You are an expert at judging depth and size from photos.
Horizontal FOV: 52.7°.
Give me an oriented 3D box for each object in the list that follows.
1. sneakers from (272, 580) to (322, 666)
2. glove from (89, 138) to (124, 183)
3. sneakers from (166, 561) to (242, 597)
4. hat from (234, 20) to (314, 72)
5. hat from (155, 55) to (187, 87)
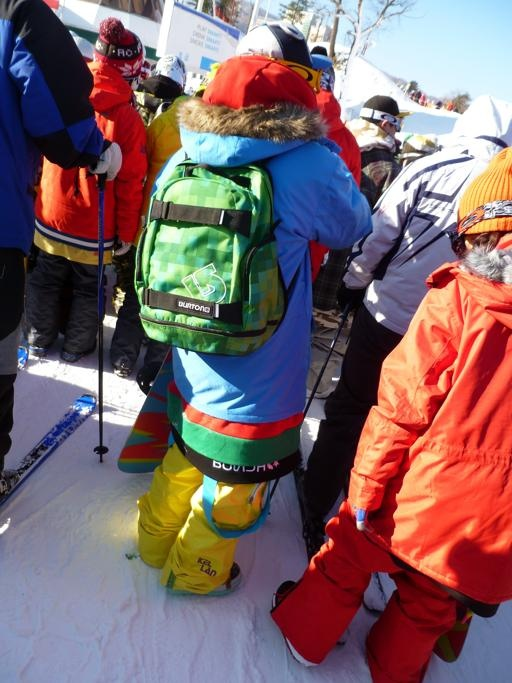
[{"bbox_3d":[0.110,1.002,1.920,0.116,0.114,0.334,-3,36,-21],"label":"sneakers"},{"bbox_3d":[-0.577,-0.721,2.059,0.124,0.152,0.147,4,2,8],"label":"glove"},{"bbox_3d":[-0.179,0.930,2.039,0.301,0.123,0.100,15,5,-38],"label":"sneakers"},{"bbox_3d":[0.065,-1.006,1.818,0.229,0.189,0.162,0,44,-26],"label":"hat"},{"bbox_3d":[-0.679,-2.179,4.154,0.237,0.271,0.300,11,24,0],"label":"hat"}]
